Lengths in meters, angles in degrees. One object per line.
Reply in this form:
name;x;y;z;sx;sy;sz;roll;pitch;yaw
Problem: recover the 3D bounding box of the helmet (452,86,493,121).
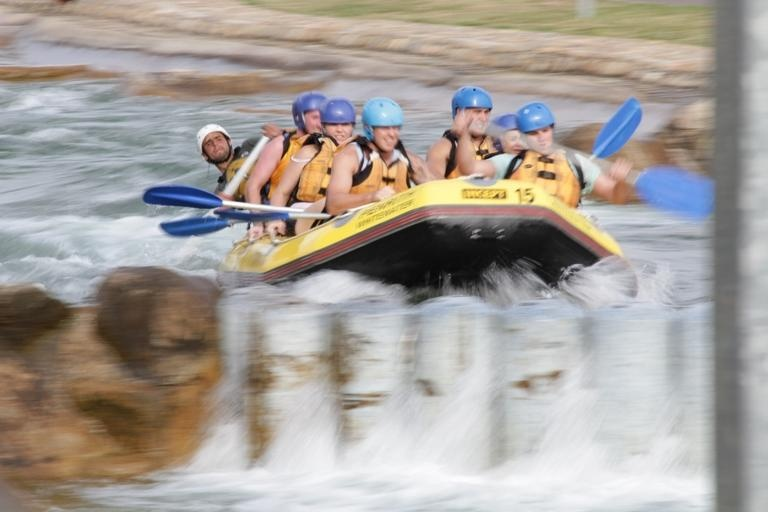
helmet;0.986;-1.651;12.458;0.423;0.240;0.400;-1;20;-25
